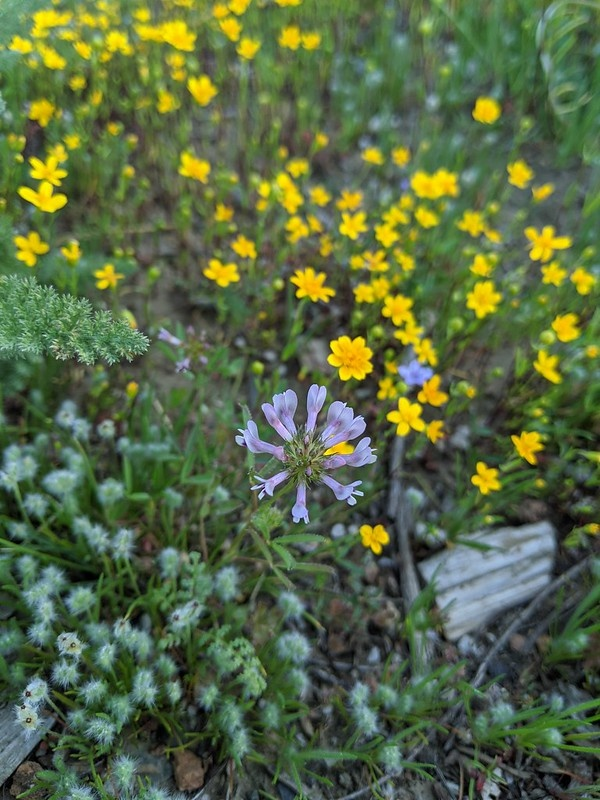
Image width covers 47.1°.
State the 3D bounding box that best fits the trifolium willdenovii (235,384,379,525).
[{"bbox_3d":[0.018,0.128,2.017,0.377,0.138,0.353,23,25,20],"label":"trifolium willdenovii"}]
